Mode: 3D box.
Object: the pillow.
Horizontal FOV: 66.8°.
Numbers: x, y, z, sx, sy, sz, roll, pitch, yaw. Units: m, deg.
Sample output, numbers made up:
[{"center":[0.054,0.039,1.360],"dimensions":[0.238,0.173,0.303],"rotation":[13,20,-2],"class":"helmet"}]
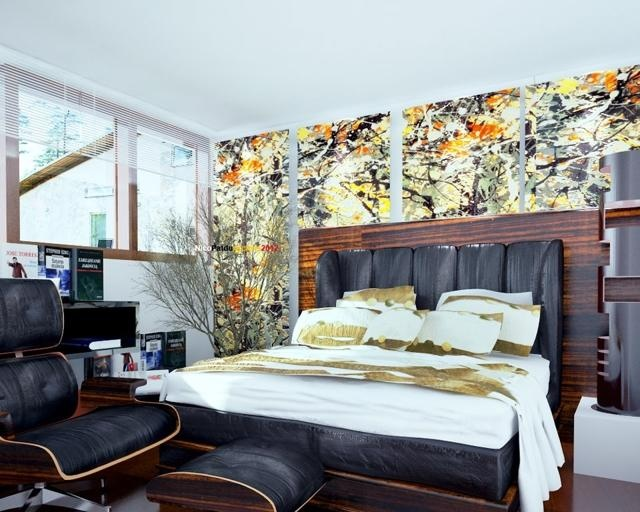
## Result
[{"center":[0.840,0.576,4.129],"dimensions":[1.921,0.473,0.826],"rotation":[-2,2,17],"class":"pillow"}]
